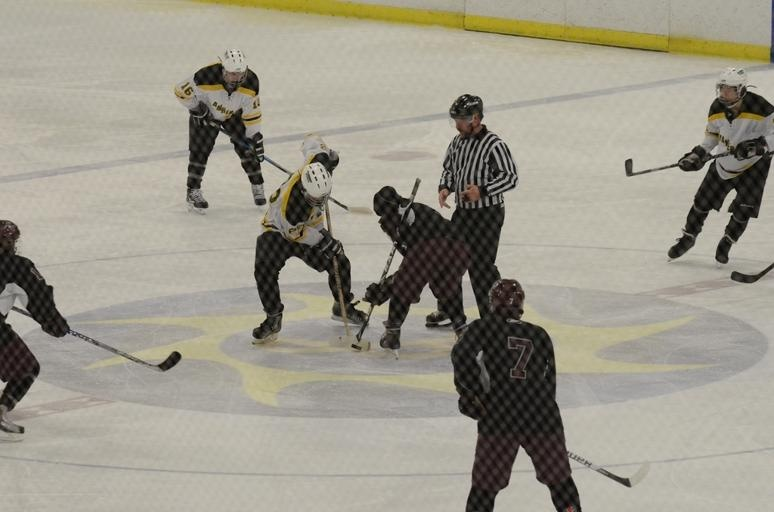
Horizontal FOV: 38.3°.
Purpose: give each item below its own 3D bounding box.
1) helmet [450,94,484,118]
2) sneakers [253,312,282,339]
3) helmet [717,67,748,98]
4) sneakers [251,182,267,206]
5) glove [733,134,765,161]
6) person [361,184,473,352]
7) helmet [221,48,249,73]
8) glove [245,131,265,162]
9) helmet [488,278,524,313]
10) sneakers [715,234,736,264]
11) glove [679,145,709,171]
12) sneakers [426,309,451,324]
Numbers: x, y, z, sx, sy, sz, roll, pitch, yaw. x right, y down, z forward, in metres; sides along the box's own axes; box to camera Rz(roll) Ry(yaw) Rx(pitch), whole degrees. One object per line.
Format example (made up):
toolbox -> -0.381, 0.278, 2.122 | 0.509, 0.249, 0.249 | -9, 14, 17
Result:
helmet -> 0.626, -1.163, 8.533 | 0.266, 0.202, 0.192 | 1, 3, -14
sneakers -> -0.910, 0.558, 8.802 | 0.340, 0.189, 0.116 | -6, 14, 3
helmet -> 2.958, -1.528, 9.582 | 0.213, 0.216, 0.270 | -1, 4, 43
sneakers -> -1.333, -0.640, 11.542 | 0.105, 0.260, 0.111 | -15, -6, -3
glove -> 3.112, -0.921, 9.554 | 0.188, 0.080, 0.238 | -21, 6, -8
person -> 0.246, 0.115, 8.616 | 0.804, 1.269, 0.441 | 5, 22, -2
helmet -> -1.474, -1.867, 10.650 | 0.237, 0.244, 0.270 | -2, 33, -12
glove -> -1.308, -1.129, 11.323 | 0.215, 0.251, 0.109 | 5, 19, 40
helmet -> 0.743, 0.218, 6.860 | 0.088, 0.177, 0.208 | -44, 26, 1
sneakers -> 3.047, -0.061, 10.043 | 0.174, 0.267, 0.257 | 5, 54, 24
glove -> 2.755, -0.874, 9.966 | 0.275, 0.109, 0.183 | -23, 46, 11
sneakers -> 0.419, 0.498, 9.191 | 0.199, 0.115, 0.097 | 5, 10, 7
